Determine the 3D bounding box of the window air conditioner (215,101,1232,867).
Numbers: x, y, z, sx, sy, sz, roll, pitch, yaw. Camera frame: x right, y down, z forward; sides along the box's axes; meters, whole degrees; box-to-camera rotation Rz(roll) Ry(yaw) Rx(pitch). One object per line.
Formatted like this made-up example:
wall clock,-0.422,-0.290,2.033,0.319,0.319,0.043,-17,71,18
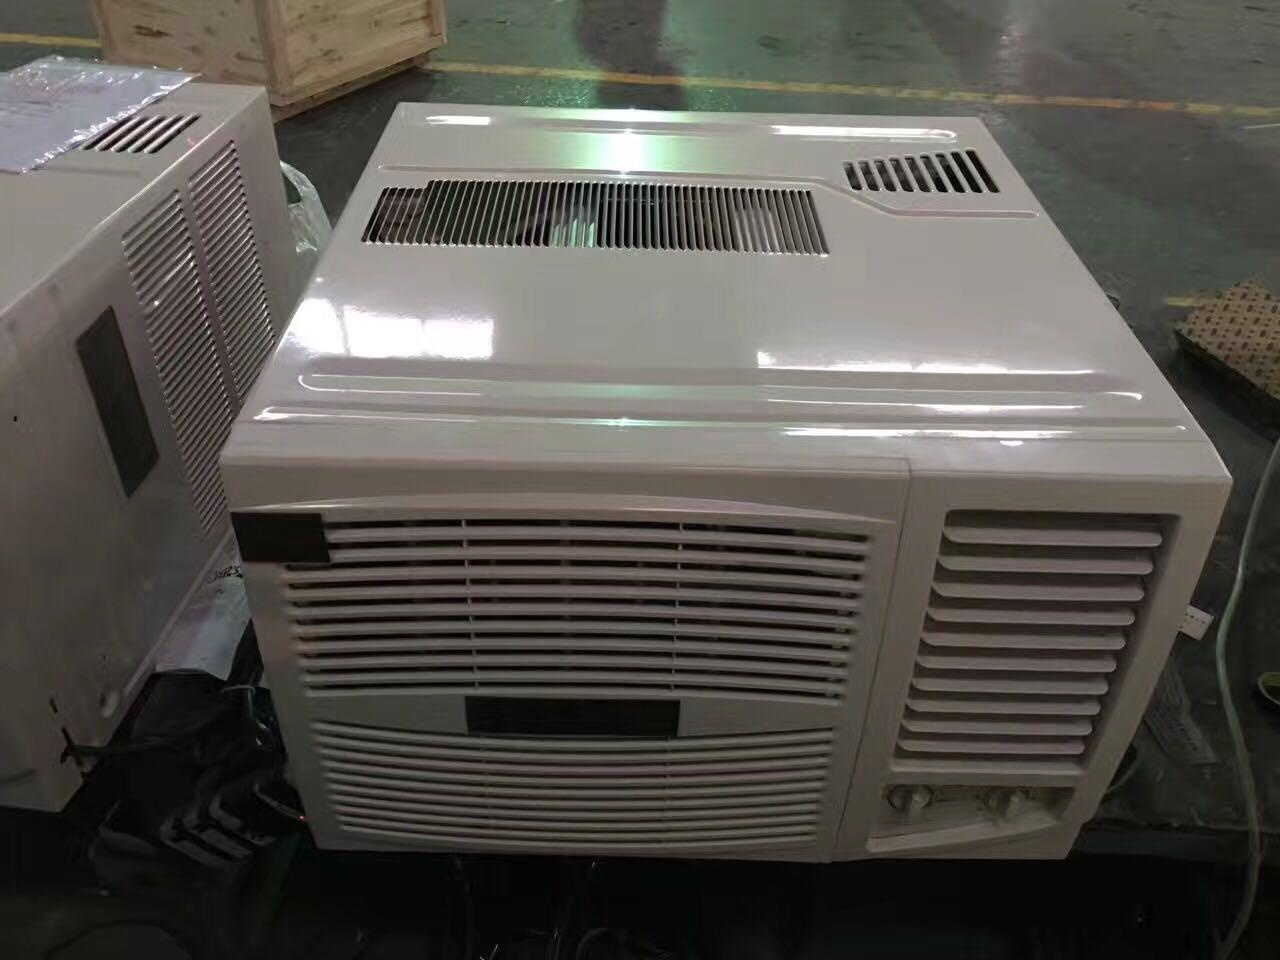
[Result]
window air conditioner,0.081,0.123,1.748,1.265,0.775,1.199,3,44,1
